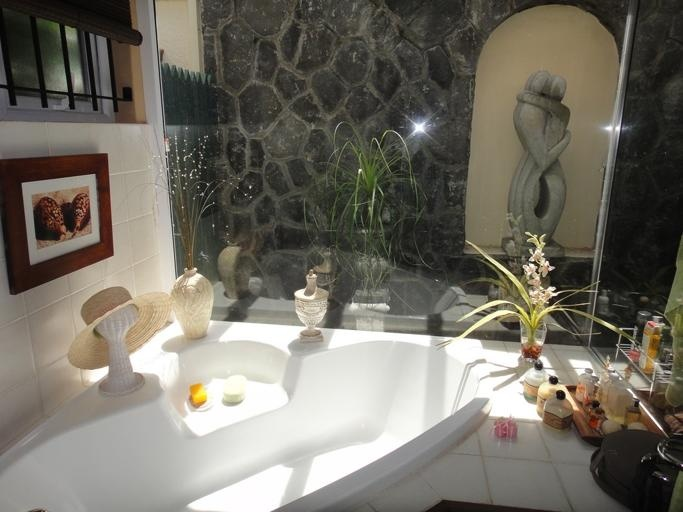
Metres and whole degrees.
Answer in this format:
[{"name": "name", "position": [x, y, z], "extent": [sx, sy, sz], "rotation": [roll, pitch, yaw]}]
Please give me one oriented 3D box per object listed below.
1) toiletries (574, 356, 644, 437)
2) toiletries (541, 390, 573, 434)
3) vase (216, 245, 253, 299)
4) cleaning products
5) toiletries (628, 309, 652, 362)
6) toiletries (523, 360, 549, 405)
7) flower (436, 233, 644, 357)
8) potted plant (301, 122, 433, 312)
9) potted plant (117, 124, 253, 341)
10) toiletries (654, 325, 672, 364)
[{"name": "toiletries", "position": [1.212, 0.657, 1.984], "extent": [0.242, 0.217, 0.420], "rotation": [10, 15, 31]}, {"name": "toiletries", "position": [1.001, 0.701, 1.976], "extent": [0.099, 0.159, 0.135], "rotation": [2, -2, -22]}, {"name": "vase", "position": [-0.746, 0.082, 3.024], "extent": [0.211, 0.384, 0.219], "rotation": [14, 25, 42]}, {"name": "cleaning products", "position": [0.989, 0.670, 2.089], "extent": [0.092, 0.155, 0.346], "rotation": [-5, 1, 7]}, {"name": "toiletries", "position": [1.598, 0.411, 2.299], "extent": [0.045, 0.218, 0.060], "rotation": [7, -7, -10]}, {"name": "toiletries", "position": [0.992, 0.638, 2.197], "extent": [0.104, 0.168, 0.104], "rotation": [6, 5, -31]}, {"name": "flower", "position": [1.180, 0.259, 2.582], "extent": [0.763, 0.599, 0.764], "rotation": [-6, 20, -26]}, {"name": "potted plant", "position": [0.218, -0.203, 2.957], "extent": [0.605, 1.093, 0.652], "rotation": [-4, -13, 11]}, {"name": "potted plant", "position": [-0.926, -0.075, 2.493], "extent": [0.454, 1.162, 0.843], "rotation": [2, 12, 2]}, {"name": "toiletries", "position": [1.570, 0.427, 2.082], "extent": [0.057, 0.178, 0.090], "rotation": [10, 15, 35]}]
